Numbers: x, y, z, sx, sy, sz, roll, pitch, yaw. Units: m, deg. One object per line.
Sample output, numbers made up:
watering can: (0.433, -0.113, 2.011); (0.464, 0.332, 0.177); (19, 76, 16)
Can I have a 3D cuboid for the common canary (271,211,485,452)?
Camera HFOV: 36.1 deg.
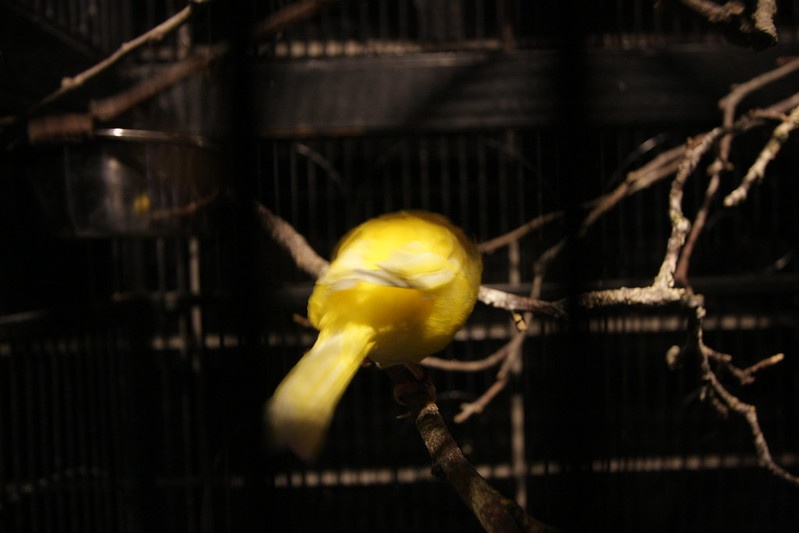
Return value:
common canary: (-0.092, 0.171, 2.828); (0.318, 0.591, 0.330); (38, -23, 12)
